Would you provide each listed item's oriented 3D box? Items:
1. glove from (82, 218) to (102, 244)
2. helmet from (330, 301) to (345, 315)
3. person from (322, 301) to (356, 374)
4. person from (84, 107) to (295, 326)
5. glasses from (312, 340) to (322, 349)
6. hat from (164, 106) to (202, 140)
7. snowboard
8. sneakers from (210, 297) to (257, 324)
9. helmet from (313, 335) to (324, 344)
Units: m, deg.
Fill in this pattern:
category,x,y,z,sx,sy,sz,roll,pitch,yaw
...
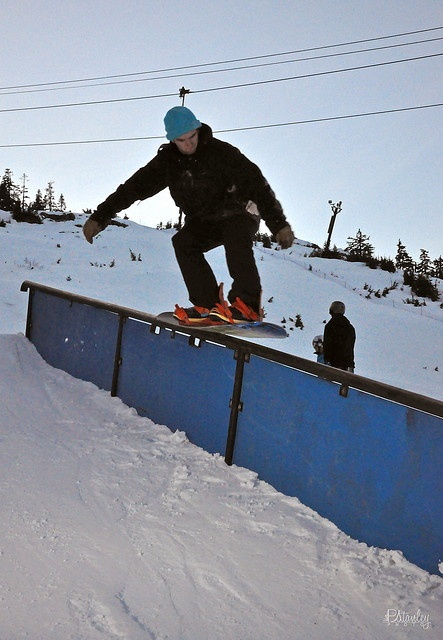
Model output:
category,x,y,z,sx,sy,sz,roll,pitch,yaw
glove,-0.911,-0.622,3.531,0.123,0.217,0.096,7,0,18
helmet,1.248,-0.148,5.411,0.123,0.163,0.162,16,35,9
person,1.282,0.338,5.408,0.351,1.075,0.325,-4,14,5
person,-0.205,-0.598,3.217,1.240,1.412,0.654,-8,-6,1
glasses,1.189,0.317,6.265,0.107,0.119,0.130,-3,10,4
hat,-0.237,-1.108,2.880,0.183,0.186,0.308,9,11,11
snowboard,-0.050,0.037,3.248,0.799,0.092,0.228,5,-10,18
sneakers,0.086,-0.053,3.122,0.312,0.146,0.117,8,32,-25
helmet,1.198,0.229,6.294,0.083,0.093,0.107,-5,-5,18
